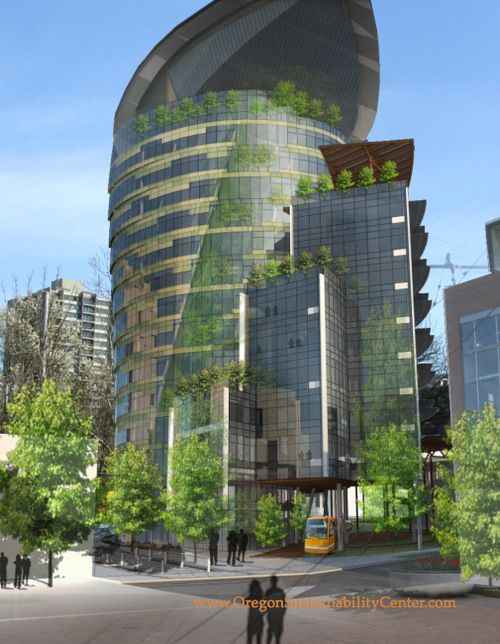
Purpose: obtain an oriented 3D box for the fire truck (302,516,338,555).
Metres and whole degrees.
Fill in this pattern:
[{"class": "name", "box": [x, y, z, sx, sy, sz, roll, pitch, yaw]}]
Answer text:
[{"class": "fire truck", "box": [4.342, 13.658, 53.923, 1.208, 1.351, 3.188, -4, -33, 11]}]
